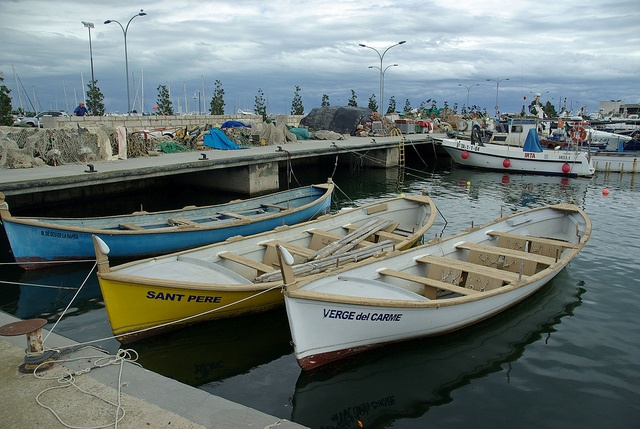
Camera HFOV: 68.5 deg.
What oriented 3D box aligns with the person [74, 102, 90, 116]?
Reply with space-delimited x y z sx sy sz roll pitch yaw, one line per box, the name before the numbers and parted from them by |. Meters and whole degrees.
person | -13.422 -5.809 26.210 0.624 0.779 1.940 -8 14 -26
